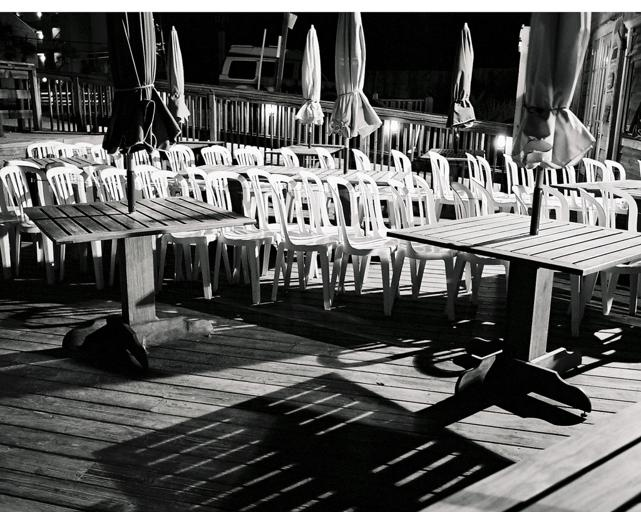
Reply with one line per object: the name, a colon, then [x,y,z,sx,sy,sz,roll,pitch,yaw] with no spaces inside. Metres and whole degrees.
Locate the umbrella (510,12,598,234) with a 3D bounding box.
umbrella: [1.321,-0.793,3.484,0.415,1.115,0.218,4,10,29]

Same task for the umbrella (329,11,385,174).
umbrella: [0.353,-1.861,6.504,0.550,1.392,0.365,0,9,6]

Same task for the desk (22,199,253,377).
desk: [-1.264,0.157,4.165,1.243,0.983,1.041,-5,10,-26]

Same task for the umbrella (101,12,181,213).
umbrella: [-1.200,-1.031,4.065,0.500,1.123,0.204,-3,9,-14]

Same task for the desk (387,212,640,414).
desk: [1.247,0.309,3.747,1.215,0.979,1.095,4,10,29]
